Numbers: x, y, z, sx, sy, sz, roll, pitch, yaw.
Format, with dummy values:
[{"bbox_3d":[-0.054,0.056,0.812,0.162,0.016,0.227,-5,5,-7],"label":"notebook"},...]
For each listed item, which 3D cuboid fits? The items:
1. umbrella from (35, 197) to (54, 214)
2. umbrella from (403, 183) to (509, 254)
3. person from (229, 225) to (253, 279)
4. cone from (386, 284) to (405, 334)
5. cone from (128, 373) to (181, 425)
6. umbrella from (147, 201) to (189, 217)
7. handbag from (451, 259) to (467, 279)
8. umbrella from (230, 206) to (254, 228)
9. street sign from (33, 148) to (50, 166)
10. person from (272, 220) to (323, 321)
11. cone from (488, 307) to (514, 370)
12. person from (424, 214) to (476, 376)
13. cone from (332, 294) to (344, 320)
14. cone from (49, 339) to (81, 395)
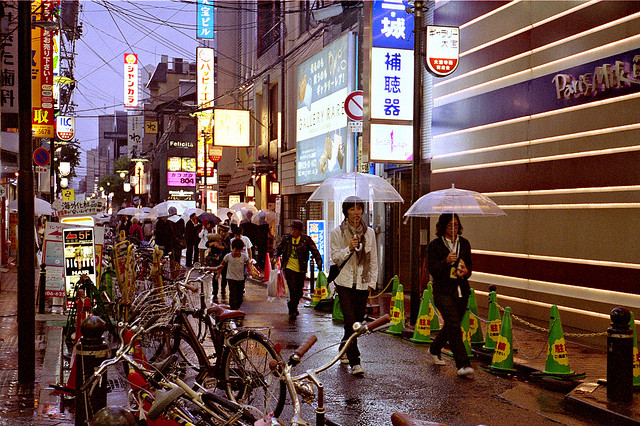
[{"bbox_3d":[-10.881,-0.269,22.012,0.542,0.523,2.003,-1,3,-27],"label":"umbrella"},{"bbox_3d":[2.605,0.202,11.015,1.438,1.112,1.458,0,-2,-1],"label":"umbrella"},{"bbox_3d":[-2.269,1.189,15.832,0.700,1.696,0.486,-2,21,-10],"label":"person"},{"bbox_3d":[1.729,2.211,12.754,0.385,1.059,0.863,1,2,15],"label":"cone"},{"bbox_3d":[-1.676,1.905,5.696,0.331,0.585,0.361,-31,1,-14],"label":"cone"},{"bbox_3d":[-7.984,-0.194,29.470,1.356,0.503,1.391,-5,-2,24],"label":"umbrella"},{"bbox_3d":[2.494,1.000,10.071,0.140,0.408,0.170,19,-11,-6],"label":"handbag"},{"bbox_3d":[-3.614,0.104,25.559,1.160,1.059,1.195,-2,19,-4],"label":"umbrella"},{"bbox_3d":[-12.633,-2.559,25.174,0.413,0.712,1.125,0,3,-9],"label":"street sign"},{"bbox_3d":[-0.609,1.482,14.615,1.109,2.581,1.276,0,2,-12],"label":"person"},{"bbox_3d":[3.340,2.265,10.236,0.427,1.132,0.328,1,2,19],"label":"cone"},{"bbox_3d":[2.396,1.460,10.142,0.882,2.843,0.621,1,3,32],"label":"person"},{"bbox_3d":[0.451,2.421,14.517,0.243,0.643,1.012,0,2,-6],"label":"cone"},{"bbox_3d":[-3.930,2.359,8.565,0.498,0.754,0.399,10,-17,-43],"label":"cone"}]
